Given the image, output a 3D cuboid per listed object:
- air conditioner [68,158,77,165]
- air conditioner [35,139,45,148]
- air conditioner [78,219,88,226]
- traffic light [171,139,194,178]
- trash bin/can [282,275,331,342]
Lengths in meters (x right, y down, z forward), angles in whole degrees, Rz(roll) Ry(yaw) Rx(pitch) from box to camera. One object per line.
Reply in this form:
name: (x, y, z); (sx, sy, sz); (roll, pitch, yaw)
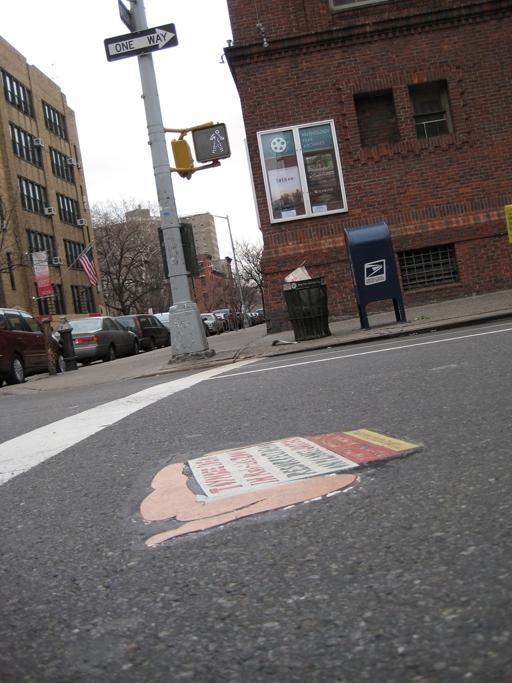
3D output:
air conditioner: (-15.021, -14.583, 51.799); (0.365, 0.609, 1.109); (-9, 2, 12)
air conditioner: (-15.729, -14.292, 46.078); (0.696, 0.467, 0.664); (-5, 10, 0)
air conditioner: (-14.257, -9.662, 51.855); (0.612, 0.373, 0.614); (1, 3, 33)
traffic light: (-1.582, -3.852, 13.433); (0.429, 0.835, 0.710); (-10, 3, -4)
trash bin/can: (1.098, -0.665, 13.335); (0.850, 1.153, 0.458); (-9, 3, 6)
